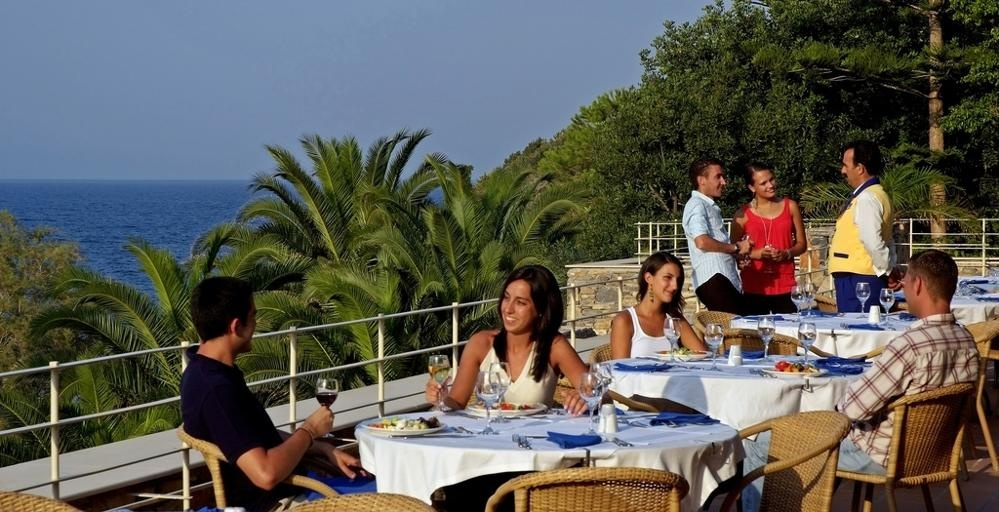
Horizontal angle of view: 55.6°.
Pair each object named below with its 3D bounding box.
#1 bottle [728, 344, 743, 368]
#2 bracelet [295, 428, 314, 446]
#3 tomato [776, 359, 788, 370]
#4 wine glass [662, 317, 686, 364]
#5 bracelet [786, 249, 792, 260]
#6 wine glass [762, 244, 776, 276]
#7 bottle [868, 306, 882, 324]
[{"bbox_3d":[3.385,1.411,13.534,0.212,0.284,0.259,-4,-1,13],"label":"bottle"},{"bbox_3d":[-2.451,2.286,12.021,0.195,0.245,0.085,1,30,36],"label":"bracelet"},{"bbox_3d":[3.952,1.526,13.179,0.104,0.112,0.147,-3,-13,10],"label":"tomato"},{"bbox_3d":[2.567,1.182,13.677,0.260,0.630,0.315,-4,0,11],"label":"wine glass"},{"bbox_3d":[4.768,-0.009,15.529,0.044,0.138,0.117,10,-11,-35],"label":"bracelet"},{"bbox_3d":[4.495,0.066,15.573,0.295,0.526,0.261,-4,0,13],"label":"wine glass"},{"bbox_3d":[5.846,0.924,14.697,0.214,0.261,0.244,0,-2,-6],"label":"bottle"}]
